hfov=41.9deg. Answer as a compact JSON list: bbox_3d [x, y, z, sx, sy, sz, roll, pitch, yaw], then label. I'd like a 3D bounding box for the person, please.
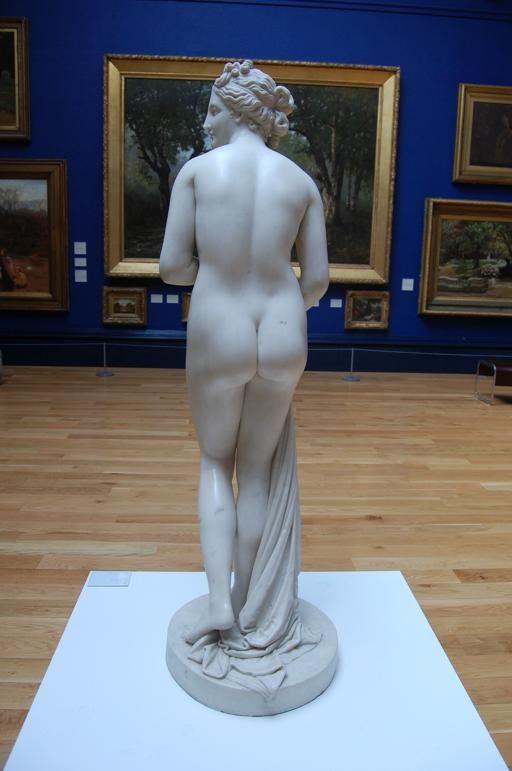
[{"bbox_3d":[-0.058,0.085,2.462,0.629,1.887,0.417,3,10,-7],"label":"person"}]
